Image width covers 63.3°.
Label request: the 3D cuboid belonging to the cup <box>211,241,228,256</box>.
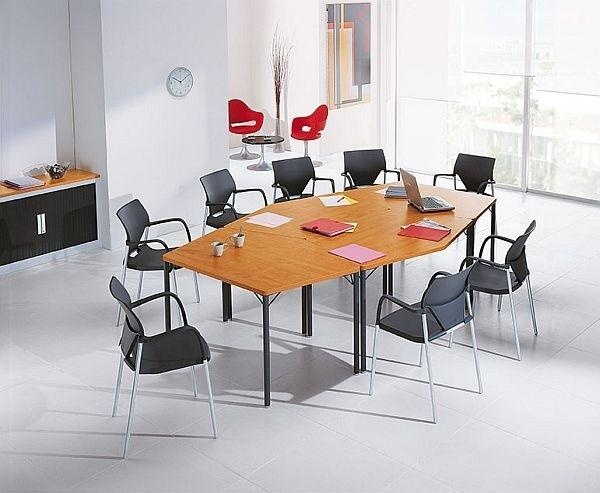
[{"bbox_3d":[-0.568,0.018,3.491,0.071,0.073,0.107,7,11,36],"label":"cup"}]

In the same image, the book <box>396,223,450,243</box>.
[{"bbox_3d":[0.971,-0.101,3.809,0.426,0.033,0.380,2,15,24],"label":"book"}]

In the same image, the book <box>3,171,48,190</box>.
[{"bbox_3d":[-2.924,-0.693,5.176,0.417,0.126,0.434,-10,18,-26],"label":"book"}]

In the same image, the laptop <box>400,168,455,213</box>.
[{"bbox_3d":[1.168,-0.470,4.466,0.415,0.353,0.467,-8,20,-17],"label":"laptop"}]

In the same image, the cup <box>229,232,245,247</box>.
[{"bbox_3d":[-0.456,-0.054,3.658,0.105,0.081,0.089,3,19,17],"label":"cup"}]

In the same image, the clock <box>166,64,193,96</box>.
[{"bbox_3d":[-1.469,-2.033,5.907,0.068,0.357,0.366,13,22,38],"label":"clock"}]
